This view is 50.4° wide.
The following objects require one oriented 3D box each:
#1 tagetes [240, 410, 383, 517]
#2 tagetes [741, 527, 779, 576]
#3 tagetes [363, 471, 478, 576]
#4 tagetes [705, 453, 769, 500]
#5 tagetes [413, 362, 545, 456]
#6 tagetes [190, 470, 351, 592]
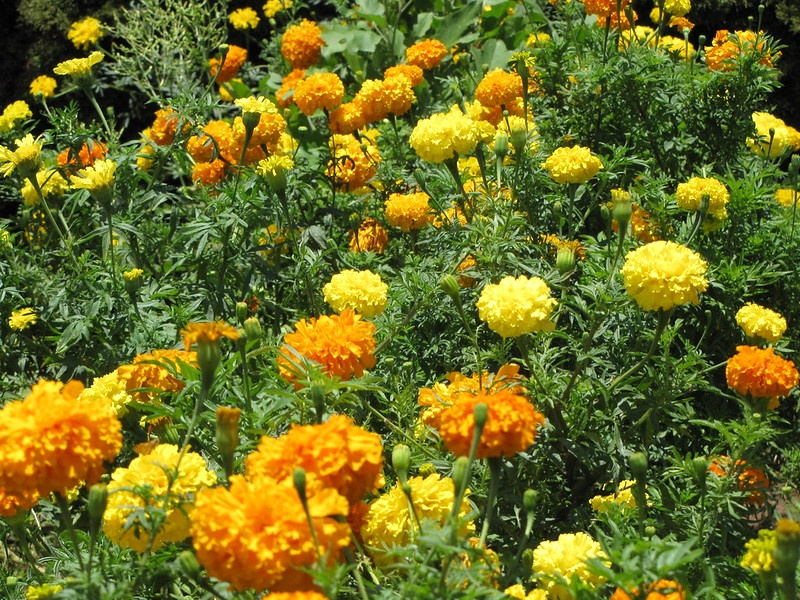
[{"bbox_3d":[-0.240,0.366,2.202,0.332,0.332,0.163,5,96,33],"label":"tagetes"},{"bbox_3d":[0.876,0.593,2.056,0.099,0.073,0.069,-38,82,-28],"label":"tagetes"},{"bbox_3d":[0.055,0.633,2.334,0.263,0.265,0.185,-29,109,1],"label":"tagetes"},{"bbox_3d":[1.075,0.581,2.666,0.185,0.185,0.082,15,92,8],"label":"tagetes"},{"bbox_3d":[0.211,0.270,2.315,0.317,0.355,0.219,8,98,34],"label":"tagetes"},{"bbox_3d":[-0.319,0.559,2.039,0.296,0.170,0.309,25,44,19],"label":"tagetes"}]
